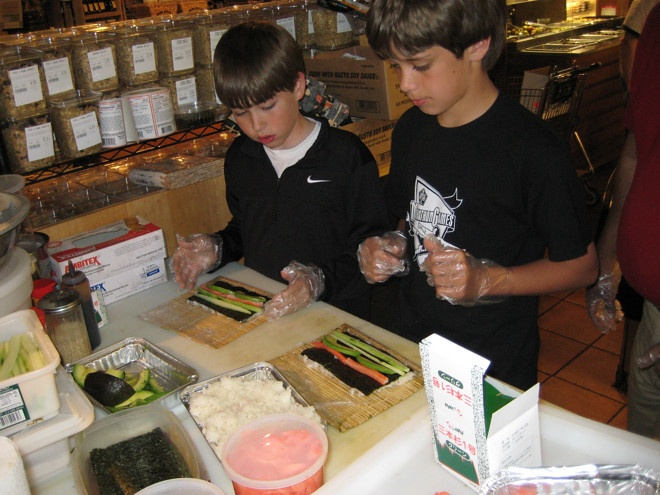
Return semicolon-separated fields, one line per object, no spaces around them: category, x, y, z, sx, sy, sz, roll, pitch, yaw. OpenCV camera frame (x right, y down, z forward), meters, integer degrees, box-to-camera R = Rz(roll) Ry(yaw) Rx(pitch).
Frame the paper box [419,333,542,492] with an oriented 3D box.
paper box;0.300;0.335;0.934;0.137;0.377;0.254;-35;34;-29

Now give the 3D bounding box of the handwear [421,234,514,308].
handwear;0.425;0.104;1.426;0.235;0.315;0.216;3;26;21

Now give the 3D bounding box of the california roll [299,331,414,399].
california roll;0.078;0.347;1.393;0.330;0.044;0.173;16;33;41

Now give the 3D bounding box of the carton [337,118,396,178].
carton;0.237;-0.702;3.292;0.310;0.379;0.579;-1;24;0

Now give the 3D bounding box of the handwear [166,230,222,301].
handwear;-0.545;0.059;1.836;0.061;0.145;0.257;-32;33;42

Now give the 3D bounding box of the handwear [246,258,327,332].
handwear;-0.124;0.150;1.669;0.220;0.056;0.161;-36;72;-28

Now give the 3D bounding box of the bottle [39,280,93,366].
bottle;-0.850;0.241;1.482;0.126;0.251;0.123;-3;20;1

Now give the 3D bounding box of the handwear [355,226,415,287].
handwear;0.181;0.041;1.703;0.133;0.203;0.200;20;45;-25
